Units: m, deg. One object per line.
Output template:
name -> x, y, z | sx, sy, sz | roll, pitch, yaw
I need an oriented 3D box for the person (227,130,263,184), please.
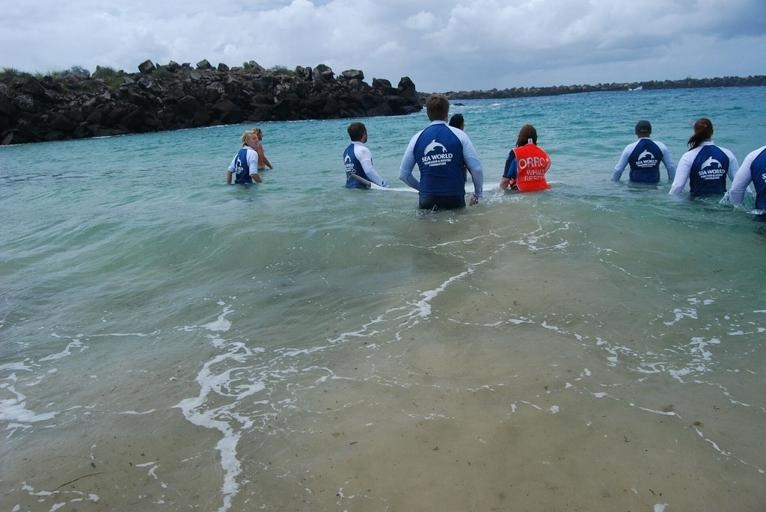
person -> -3.519, -2.408, 13.444 | 0.820, 1.264, 1.538 | -8, 19, -11

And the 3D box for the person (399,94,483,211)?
person -> 0.984, -1.758, 9.355 | 1.358, 1.951, 0.539 | -2, 20, 6

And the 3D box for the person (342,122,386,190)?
person -> -0.504, -2.226, 12.082 | 0.842, 1.424, 1.467 | -5, 18, -2

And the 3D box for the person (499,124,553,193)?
person -> 2.697, -1.853, 10.350 | 0.926, 1.248, 0.456 | 0, 20, 12

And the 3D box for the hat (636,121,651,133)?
hat -> 5.340, -2.649, 11.148 | 0.270, 0.238, 0.487 | 4, 18, 20
